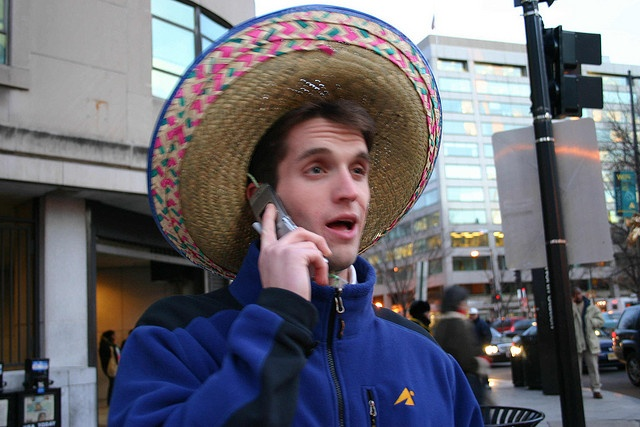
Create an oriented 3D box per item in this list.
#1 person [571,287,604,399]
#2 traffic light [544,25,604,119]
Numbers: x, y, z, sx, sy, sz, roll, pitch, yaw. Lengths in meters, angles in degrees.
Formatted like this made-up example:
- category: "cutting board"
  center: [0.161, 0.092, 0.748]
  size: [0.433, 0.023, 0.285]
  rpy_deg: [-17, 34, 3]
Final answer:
- category: "person"
  center: [6.067, 2.867, 14.846]
  size: [0.600, 2.495, 1.554]
  rpy_deg: [-10, -13, 21]
- category: "traffic light"
  center: [3.653, -2.027, 9.611]
  size: [0.674, 1.275, 0.760]
  rpy_deg: [-2, 0, -40]
